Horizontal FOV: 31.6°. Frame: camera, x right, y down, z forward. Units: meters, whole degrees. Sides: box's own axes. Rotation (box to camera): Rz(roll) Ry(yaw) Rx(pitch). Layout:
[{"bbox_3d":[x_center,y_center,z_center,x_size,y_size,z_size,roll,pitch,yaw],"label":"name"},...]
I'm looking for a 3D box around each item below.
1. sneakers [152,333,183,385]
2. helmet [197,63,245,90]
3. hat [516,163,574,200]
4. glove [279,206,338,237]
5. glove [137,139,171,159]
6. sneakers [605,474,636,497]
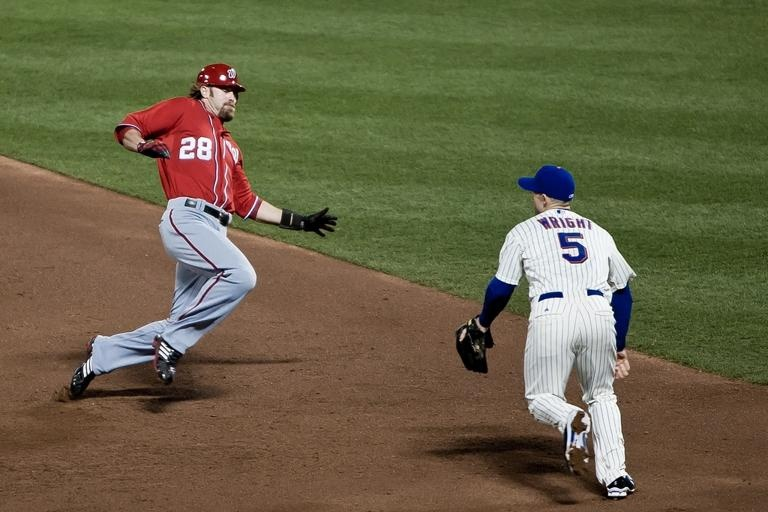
[{"bbox_3d":[-2.307,1.094,14.459,0.291,0.466,0.274,4,14,-5],"label":"sneakers"},{"bbox_3d":[-1.777,-1.978,14.858,0.484,0.190,0.323,2,5,15],"label":"helmet"},{"bbox_3d":[1.717,-0.825,13.946,0.622,0.279,0.401,21,28,25],"label":"hat"},{"bbox_3d":[-0.849,-0.444,15.317,0.567,0.166,0.402,13,-5,-17],"label":"glove"},{"bbox_3d":[-2.419,-1.147,14.392,0.285,0.106,0.200,1,-7,28],"label":"glove"},{"bbox_3d":[2.358,2.279,13.508,0.159,0.142,0.355,5,10,32],"label":"sneakers"}]
